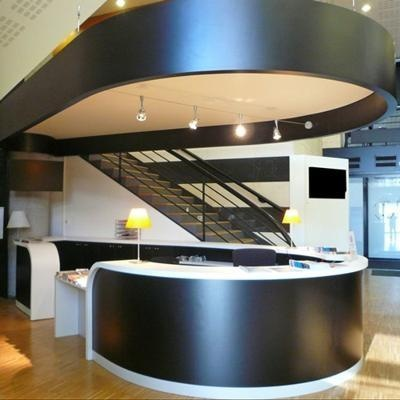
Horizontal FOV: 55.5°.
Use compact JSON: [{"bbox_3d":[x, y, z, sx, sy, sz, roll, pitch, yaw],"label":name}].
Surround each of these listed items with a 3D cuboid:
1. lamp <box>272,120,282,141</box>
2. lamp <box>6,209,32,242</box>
[{"bbox_3d":[1.040,-0.933,5.167,0.124,0.289,0.484,-6,13,13],"label":"lamp"},{"bbox_3d":[-3.330,0.471,6.984,0.364,0.579,0.627,-15,12,-27],"label":"lamp"}]
